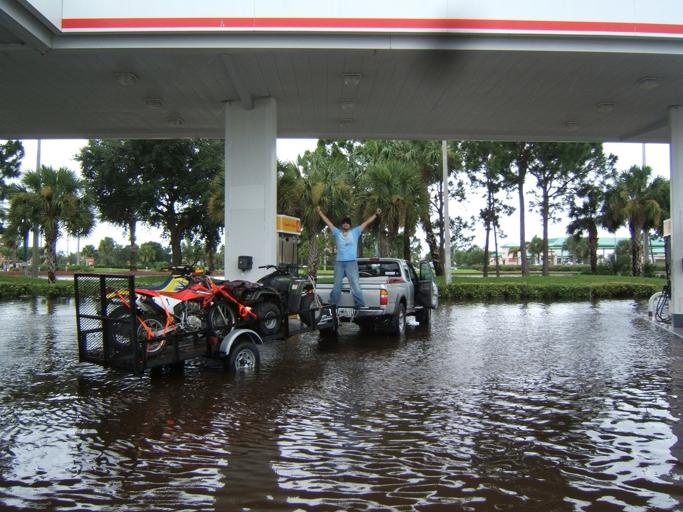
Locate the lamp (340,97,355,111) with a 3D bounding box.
[{"bbox_3d":[0.154,-3.808,13.853,0.371,0.089,0.958,1,4,0],"label":"lamp"}]

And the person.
[{"bbox_3d":[0.106,0.120,11.423,0.978,1.920,0.801,1,3,-7],"label":"person"}]

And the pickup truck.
[{"bbox_3d":[1.116,0.900,12.848,1.528,0.997,2.629,1,4,26],"label":"pickup truck"}]

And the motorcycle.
[{"bbox_3d":[-2.106,0.763,9.031,1.318,0.932,2.612,-1,0,40],"label":"motorcycle"}]
